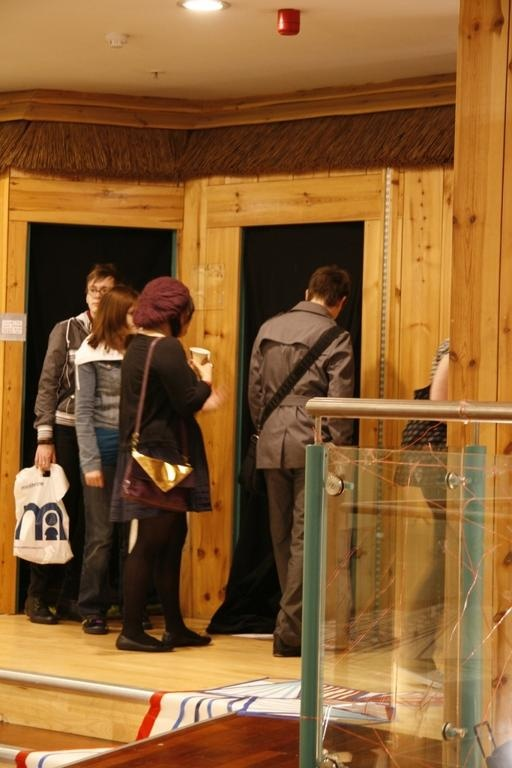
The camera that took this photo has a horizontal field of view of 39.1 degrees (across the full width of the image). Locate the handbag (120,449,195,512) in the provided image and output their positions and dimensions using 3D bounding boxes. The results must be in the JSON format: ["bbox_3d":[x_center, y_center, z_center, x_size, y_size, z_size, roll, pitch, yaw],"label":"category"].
[{"bbox_3d":[-0.408,0.386,2.925,0.228,0.195,0.065,17,-19,-15],"label":"handbag"}]

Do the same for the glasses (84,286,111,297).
[{"bbox_3d":[-0.823,-0.470,3.779,0.068,0.048,0.085,0,-5,7],"label":"glasses"}]

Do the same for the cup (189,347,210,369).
[{"bbox_3d":[-0.248,-0.122,3.210,0.067,0.079,0.111,1,-2,-38],"label":"cup"}]

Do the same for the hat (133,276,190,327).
[{"bbox_3d":[-0.396,-0.337,3.025,0.243,0.171,0.176,-7,5,-23],"label":"hat"}]

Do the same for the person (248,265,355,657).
[{"bbox_3d":[0.193,0.309,3.236,0.474,1.731,0.491,0,-2,2],"label":"person"}]
